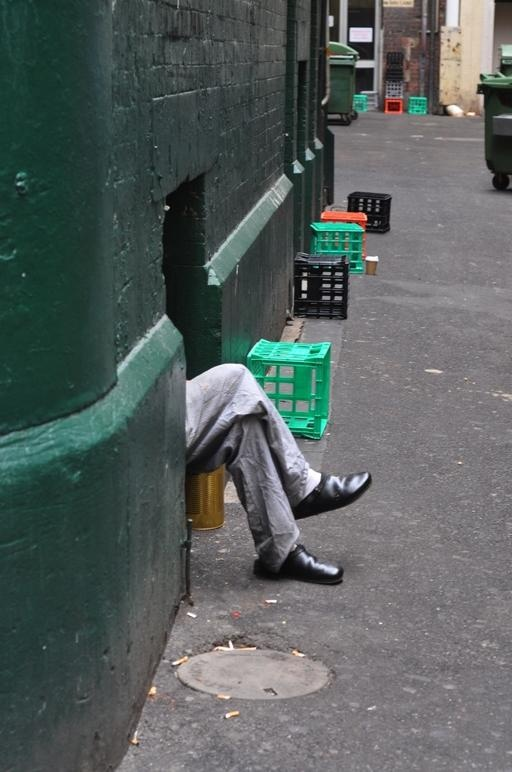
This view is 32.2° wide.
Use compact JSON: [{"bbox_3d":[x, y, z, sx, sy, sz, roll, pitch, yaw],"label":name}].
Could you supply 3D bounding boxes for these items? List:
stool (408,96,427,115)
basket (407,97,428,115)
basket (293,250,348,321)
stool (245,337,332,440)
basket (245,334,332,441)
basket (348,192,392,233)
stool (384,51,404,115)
[{"bbox_3d":[6.978,-12.189,38.251,0.832,0.704,0.576,6,12,17],"label":"stool"},{"bbox_3d":[6.978,-12.189,38.251,0.832,0.704,0.576,6,12,17],"label":"basket"},{"bbox_3d":[0.701,-1.043,9.701,0.693,0.804,0.613,-1,3,-1],"label":"basket"},{"bbox_3d":[0.294,-0.034,5.991,0.701,0.796,0.604,1,12,6],"label":"stool"},{"bbox_3d":[0.288,-0.033,5.988,0.707,0.801,0.609,2,13,7],"label":"basket"},{"bbox_3d":[1.932,-2.981,14.665,0.790,0.853,0.589,6,17,20],"label":"basket"},{"bbox_3d":[5.938,-13.139,38.195,0.867,2.424,1.191,3,11,8],"label":"stool"}]
